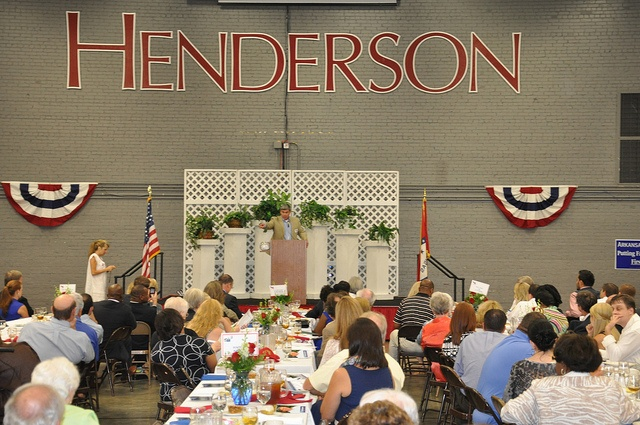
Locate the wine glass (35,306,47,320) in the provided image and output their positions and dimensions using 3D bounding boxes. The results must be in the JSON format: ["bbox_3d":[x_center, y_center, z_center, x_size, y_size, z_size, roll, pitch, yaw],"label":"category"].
[{"bbox_3d":[-5.804,2.081,25.250,0.249,0.284,0.254,0,-3,26],"label":"wine glass"}]

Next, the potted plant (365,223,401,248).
[{"bbox_3d":[1.464,0.489,29.057,0.738,0.575,0.570,1,0,-23],"label":"potted plant"}]

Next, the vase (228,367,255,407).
[{"bbox_3d":[-1.401,3.142,21.986,0.511,0.775,0.544,5,-11,-14],"label":"vase"}]

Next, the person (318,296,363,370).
[{"bbox_3d":[0.565,2.129,23.325,0.649,1.630,0.933,-16,37,-4],"label":"person"}]

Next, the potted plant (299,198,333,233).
[{"bbox_3d":[-0.135,0.057,28.741,0.746,0.539,0.632,4,-2,-18],"label":"potted plant"}]

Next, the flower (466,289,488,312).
[{"bbox_3d":[3.383,1.888,26.698,0.472,0.485,0.187,28,16,31],"label":"flower"}]

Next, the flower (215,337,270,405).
[{"bbox_3d":[-1.413,2.895,21.996,0.967,1.281,1.026,7,-10,-25],"label":"flower"}]

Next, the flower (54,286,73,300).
[{"bbox_3d":[-5.318,1.659,25.277,0.426,0.259,0.434,-1,1,8],"label":"flower"}]

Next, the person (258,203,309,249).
[{"bbox_3d":[-0.783,0.327,28.336,1.010,1.631,0.938,-3,-7,5],"label":"person"}]

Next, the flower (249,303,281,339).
[{"bbox_3d":[-1.070,2.085,24.238,0.500,0.566,0.554,1,-1,-4],"label":"flower"}]

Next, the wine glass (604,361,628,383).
[{"bbox_3d":[5.487,2.944,22.714,0.381,0.378,0.377,1,-12,0],"label":"wine glass"}]

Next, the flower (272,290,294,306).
[{"bbox_3d":[-0.802,1.778,25.402,0.308,0.211,0.314,-2,-4,7],"label":"flower"}]

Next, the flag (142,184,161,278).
[{"bbox_3d":[-4.026,0.441,29.075,0.404,2.112,1.831,1,0,-8],"label":"flag"}]

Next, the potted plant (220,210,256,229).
[{"bbox_3d":[-1.960,0.163,28.885,0.449,0.273,0.460,-2,-5,21],"label":"potted plant"}]

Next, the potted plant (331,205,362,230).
[{"bbox_3d":[0.610,0.120,29.041,0.550,0.478,0.560,-2,-4,31],"label":"potted plant"}]

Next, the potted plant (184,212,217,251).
[{"bbox_3d":[-2.865,0.447,29.175,0.788,0.672,0.919,0,0,-7],"label":"potted plant"}]

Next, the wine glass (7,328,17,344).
[{"bbox_3d":[-6.131,2.437,24.336,0.213,0.359,0.231,2,-14,-9],"label":"wine glass"}]
